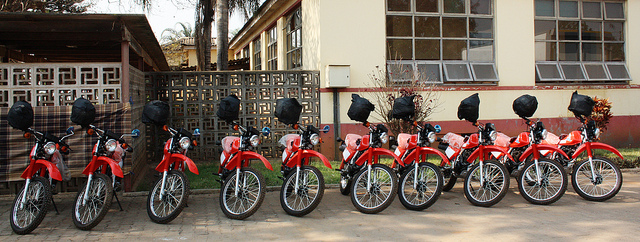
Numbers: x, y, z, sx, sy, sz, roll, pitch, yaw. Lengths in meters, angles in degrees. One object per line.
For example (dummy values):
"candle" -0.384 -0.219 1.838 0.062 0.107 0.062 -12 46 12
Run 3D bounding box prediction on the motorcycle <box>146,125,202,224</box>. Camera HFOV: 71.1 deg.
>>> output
"motorcycle" -5.928 2.091 17.703 1.824 3.797 0.934 -2 3 -7

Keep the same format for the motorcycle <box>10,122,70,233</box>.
"motorcycle" -11.066 2.158 17.502 1.909 4.170 1.179 -3 3 -28

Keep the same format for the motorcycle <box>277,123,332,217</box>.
"motorcycle" -0.733 1.940 18.115 1.945 3.702 1.184 -2 3 -4

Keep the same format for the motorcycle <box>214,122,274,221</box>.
"motorcycle" -3.157 1.979 18.310 2.210 3.810 1.643 -1 3 10
